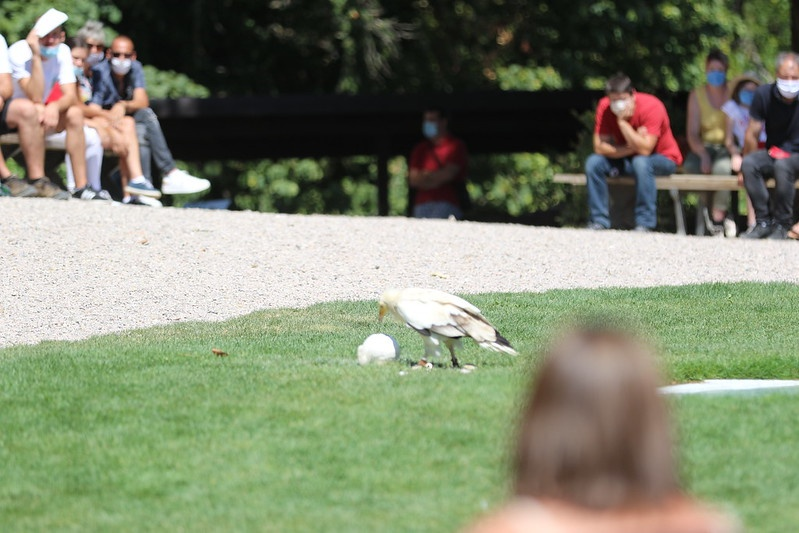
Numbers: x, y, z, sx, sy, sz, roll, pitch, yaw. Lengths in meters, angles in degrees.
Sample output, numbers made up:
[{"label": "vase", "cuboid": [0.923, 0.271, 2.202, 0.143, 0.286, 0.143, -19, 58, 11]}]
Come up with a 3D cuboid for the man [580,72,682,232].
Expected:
[{"label": "man", "cuboid": [2.703, -1.340, 20.434, 1.071, 1.843, 0.492, -1, 5, 9]}]

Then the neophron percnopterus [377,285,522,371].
[{"label": "neophron percnopterus", "cuboid": [0.497, 0.565, 16.370, 1.376, 0.807, 0.570, 2, -3, 27]}]

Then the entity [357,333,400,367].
[{"label": "entity", "cuboid": [-0.220, 0.796, 16.547, 0.315, 0.275, 0.259, 5, -6, 4]}]

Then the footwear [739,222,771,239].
[{"label": "footwear", "cuboid": [4.079, -0.421, 20.154, 0.394, 0.181, 0.141, -2, 16, -8]}]

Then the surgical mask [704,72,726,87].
[{"label": "surgical mask", "cuboid": [3.845, -2.294, 21.223, 0.176, 0.114, 0.184, 2, 8, 6]}]
